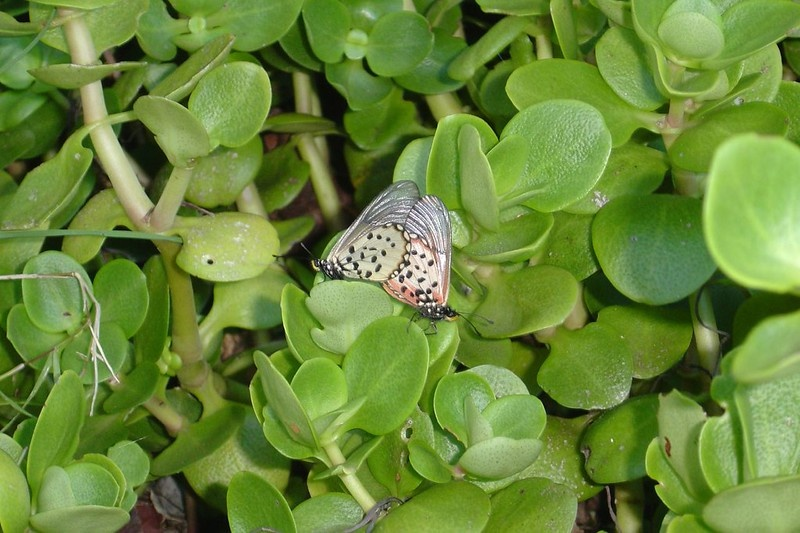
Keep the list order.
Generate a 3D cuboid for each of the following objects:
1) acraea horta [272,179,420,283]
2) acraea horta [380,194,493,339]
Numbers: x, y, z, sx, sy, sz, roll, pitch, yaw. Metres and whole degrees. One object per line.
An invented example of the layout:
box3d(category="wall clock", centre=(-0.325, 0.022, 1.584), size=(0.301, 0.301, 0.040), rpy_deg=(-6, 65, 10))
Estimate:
box3d(category="acraea horta", centre=(-0.062, -0.034, 0.978), size=(0.182, 0.169, 0.101), rpy_deg=(-1, 69, 4))
box3d(category="acraea horta", centre=(0.039, -0.027, 0.924), size=(0.155, 0.161, 0.079), rpy_deg=(38, 48, 27))
